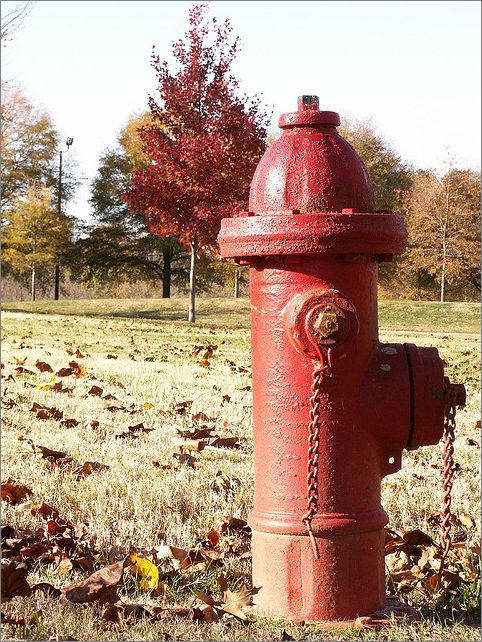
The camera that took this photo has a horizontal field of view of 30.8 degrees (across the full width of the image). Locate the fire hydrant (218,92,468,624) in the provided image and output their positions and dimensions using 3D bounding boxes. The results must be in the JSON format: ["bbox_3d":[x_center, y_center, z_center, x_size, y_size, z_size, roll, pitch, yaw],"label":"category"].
[{"bbox_3d":[0.263,0.082,2.449,0.668,1.478,0.427,1,-1,-2],"label":"fire hydrant"}]
